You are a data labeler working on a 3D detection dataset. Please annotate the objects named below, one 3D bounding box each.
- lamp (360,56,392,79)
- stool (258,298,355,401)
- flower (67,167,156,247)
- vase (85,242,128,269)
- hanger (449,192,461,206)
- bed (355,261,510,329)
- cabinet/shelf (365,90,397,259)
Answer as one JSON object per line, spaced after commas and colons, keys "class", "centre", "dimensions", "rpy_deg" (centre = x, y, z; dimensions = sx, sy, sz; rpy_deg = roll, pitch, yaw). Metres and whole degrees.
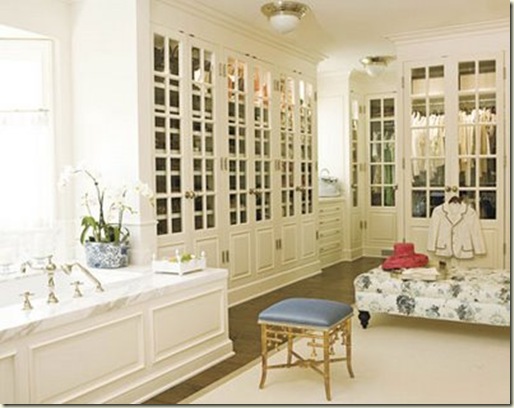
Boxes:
{"class": "lamp", "centre": [1.789, -2.067, 5.975], "dimensions": [0.340, 0.143, 0.326], "rpy_deg": [0, 3, -4]}
{"class": "stool", "centre": [0.286, 0.899, 2.755], "dimensions": [0.756, 0.622, 0.596], "rpy_deg": [3, 8, 32]}
{"class": "flower", "centre": [-1.243, 0.017, 3.429], "dimensions": [0.703, 0.506, 0.313], "rpy_deg": [7, 10, 19]}
{"class": "vase", "centre": [-1.284, 0.429, 3.404], "dimensions": [0.380, 0.205, 0.353], "rpy_deg": [-3, -2, 17]}
{"class": "hanger", "centre": [2.410, -0.062, 4.780], "dimensions": [0.157, 0.203, 0.027], "rpy_deg": [3, -1, 36]}
{"class": "bed", "centre": [1.590, 0.882, 3.585], "dimensions": [1.246, 0.510, 0.616], "rpy_deg": [0, 3, 27]}
{"class": "cabinet/shelf", "centre": [2.261, -0.506, 7.200], "dimensions": [0.536, 2.920, 0.256], "rpy_deg": [1, 4, 33]}
